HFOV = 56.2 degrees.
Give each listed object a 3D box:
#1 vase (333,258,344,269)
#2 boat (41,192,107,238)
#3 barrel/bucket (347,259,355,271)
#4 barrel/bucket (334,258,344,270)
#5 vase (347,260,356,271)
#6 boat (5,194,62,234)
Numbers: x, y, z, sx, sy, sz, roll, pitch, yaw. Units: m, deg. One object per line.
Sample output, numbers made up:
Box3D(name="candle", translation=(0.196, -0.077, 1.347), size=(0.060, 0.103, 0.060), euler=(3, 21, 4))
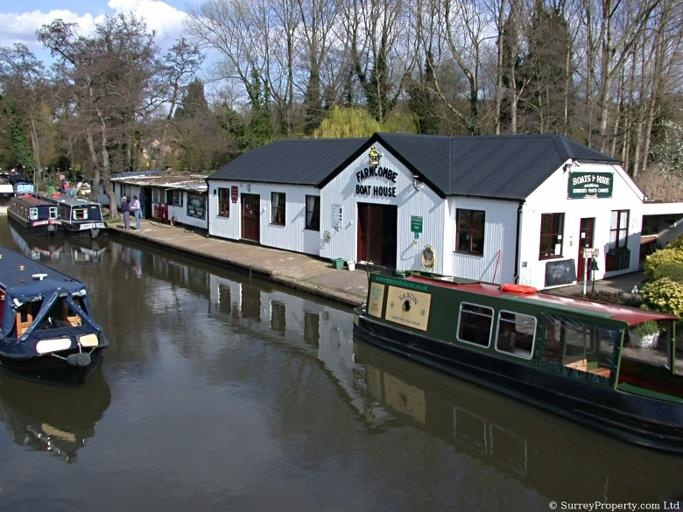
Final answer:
Box3D(name="vase", translation=(-0.098, 0.309, 27.838), size=(0.426, 0.361, 0.365), euler=(-5, 10, -44))
Box3D(name="boat", translation=(-15.827, -2.370, 39.339), size=(1.545, 2.390, 6.971), euler=(-3, 15, -33))
Box3D(name="barrel/bucket", translation=(0.436, 0.429, 27.801), size=(0.305, 0.292, 0.352), euler=(2, 7, 5))
Box3D(name="barrel/bucket", translation=(-0.092, 0.308, 27.852), size=(0.434, 0.405, 0.391), euler=(-3, 12, -27))
Box3D(name="vase", translation=(0.449, 0.419, 27.815), size=(0.284, 0.295, 0.341), euler=(0, 0, -4))
Box3D(name="boat", translation=(-20.377, -2.659, 42.525), size=(2.081, 2.234, 7.663), euler=(-1, 14, -30))
